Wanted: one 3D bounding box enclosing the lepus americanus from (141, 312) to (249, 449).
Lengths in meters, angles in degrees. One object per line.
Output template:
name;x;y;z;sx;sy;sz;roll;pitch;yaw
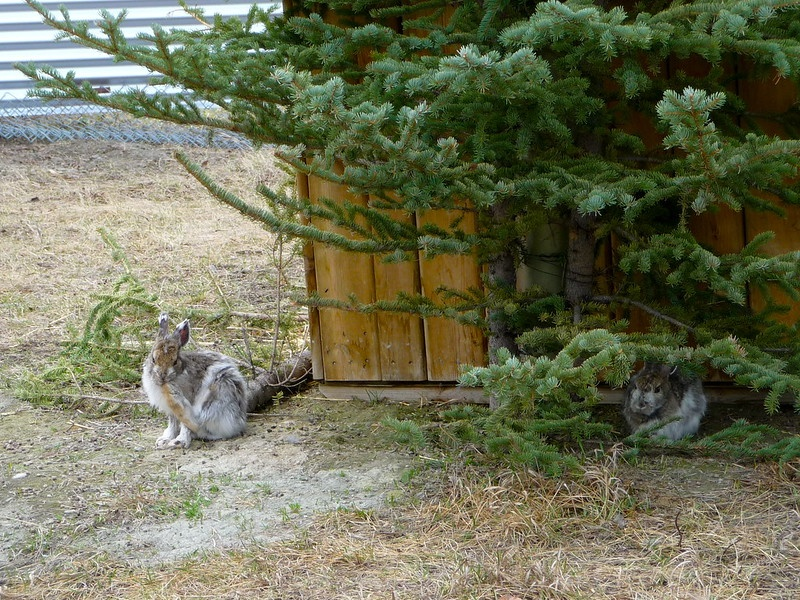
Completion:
lepus americanus;-1.581;0.626;7.702;0.860;0.915;0.610;3;9;-27

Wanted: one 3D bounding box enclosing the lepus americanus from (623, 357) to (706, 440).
lepus americanus;1.846;0.693;6.832;0.560;0.500;0.446;2;15;13
